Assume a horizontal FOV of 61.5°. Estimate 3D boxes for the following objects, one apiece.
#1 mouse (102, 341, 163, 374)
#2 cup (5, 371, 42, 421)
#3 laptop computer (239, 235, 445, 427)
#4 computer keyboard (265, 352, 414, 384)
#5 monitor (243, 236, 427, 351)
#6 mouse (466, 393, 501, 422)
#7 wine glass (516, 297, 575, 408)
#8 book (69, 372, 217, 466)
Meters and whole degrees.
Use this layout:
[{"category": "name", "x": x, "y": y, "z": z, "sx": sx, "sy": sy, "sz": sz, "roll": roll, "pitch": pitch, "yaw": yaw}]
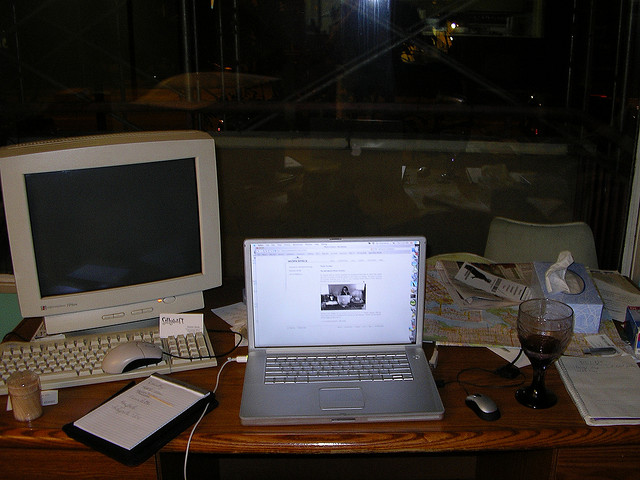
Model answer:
[{"category": "mouse", "x": -0.550, "y": 0.336, "z": 1.585, "sx": 0.183, "sy": 0.058, "sz": 0.101, "roll": -10, "pitch": 28, "yaw": -44}, {"category": "cup", "x": -0.777, "y": 0.414, "z": 1.409, "sx": 0.089, "sy": 0.129, "sz": 0.084, "roll": 4, "pitch": 19, "yaw": -1}, {"category": "laptop computer", "x": 0.054, "y": 0.223, "z": 1.430, "sx": 0.535, "sy": 0.348, "sz": 0.371, "roll": -2, "pitch": 21, "yaw": -3}, {"category": "computer keyboard", "x": 0.051, "y": 0.372, "z": 1.536, "sx": 0.454, "sy": 0.023, "sz": 0.159, "roll": -1, "pitch": 26, "yaw": 0}, {"category": "monitor", "x": 0.045, "y": 0.160, "z": 1.562, "sx": 0.518, "sy": 0.344, "sz": 0.019, "roll": -1, "pitch": 10, "yaw": 0}, {"category": "mouse", "x": 0.441, "y": 0.444, "z": 1.449, "sx": 0.079, "sy": 0.044, "sz": 0.100, "roll": -12, "pitch": 18, "yaw": -31}, {"category": "wine glass", "x": 0.624, "y": 0.308, "z": 1.507, "sx": 0.137, "sy": 0.240, "sz": 0.227, "roll": 4, "pitch": 17, "yaw": 23}, {"category": "book", "x": -0.471, "y": 0.456, "z": 1.408, "sx": 0.243, "sy": 0.033, "sz": 0.233, "roll": 14, "pitch": 23, "yaw": 34}]
